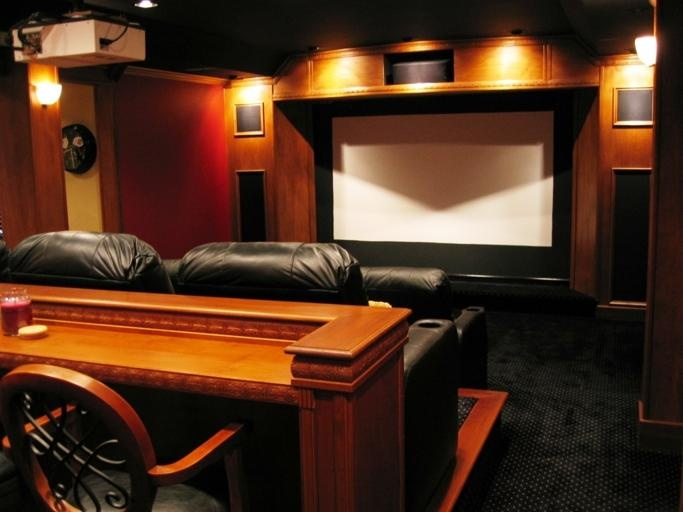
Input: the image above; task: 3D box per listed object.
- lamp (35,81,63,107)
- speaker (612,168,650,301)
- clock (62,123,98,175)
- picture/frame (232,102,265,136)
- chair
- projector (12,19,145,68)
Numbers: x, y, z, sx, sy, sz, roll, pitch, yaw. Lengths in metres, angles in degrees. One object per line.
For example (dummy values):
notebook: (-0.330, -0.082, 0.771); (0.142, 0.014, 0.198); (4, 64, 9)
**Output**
lamp: (-2.650, -1.452, 4.939); (0.210, 0.189, 0.190); (-5, 8, -37)
speaker: (2.836, -0.186, 5.342); (0.326, 1.281, 0.124); (1, 10, 10)
clock: (-3.062, -1.242, 6.367); (0.465, 0.536, 0.198); (5, 11, 31)
picture/frame: (-1.155, -1.726, 6.884); (0.410, 0.451, 0.045); (1, 6, 21)
chair: (-0.373, 0.417, 1.921); (1.067, 0.531, 0.786); (3, 8, 26)
projector: (-1.370, -1.083, 2.827); (0.637, 0.186, 0.321); (3, 10, 22)
